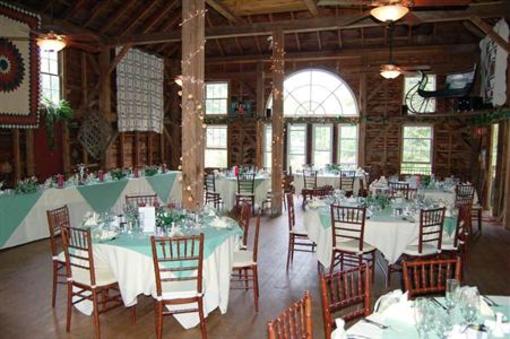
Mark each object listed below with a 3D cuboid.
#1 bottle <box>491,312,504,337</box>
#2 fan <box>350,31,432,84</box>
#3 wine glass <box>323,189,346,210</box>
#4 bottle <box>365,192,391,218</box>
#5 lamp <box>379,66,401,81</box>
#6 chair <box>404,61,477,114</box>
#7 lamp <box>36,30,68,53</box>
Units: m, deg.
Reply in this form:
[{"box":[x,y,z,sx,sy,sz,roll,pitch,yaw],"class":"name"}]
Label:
[{"box":[2.596,1.659,4.176,0.146,0.228,0.087,-2,2,-9],"class":"bottle"},{"box":[3.356,-2.895,9.524,1.249,1.285,1.199,2,-2,33],"class":"fan"},{"box":[1.565,0.561,7.727,0.308,0.293,0.421,-1,-5,4],"class":"wine glass"},{"box":[2.261,0.581,7.285,0.393,0.295,0.441,16,29,29],"class":"bottle"},{"box":[3.262,-2.359,9.356,0.461,0.194,0.614,-1,2,25],"class":"lamp"},{"box":[5.278,-2.423,12.121,2.628,2.032,1.460,4,10,28],"class":"chair"},{"box":[-3.773,-2.420,7.444,0.400,0.150,0.410,0,-1,22],"class":"lamp"}]
